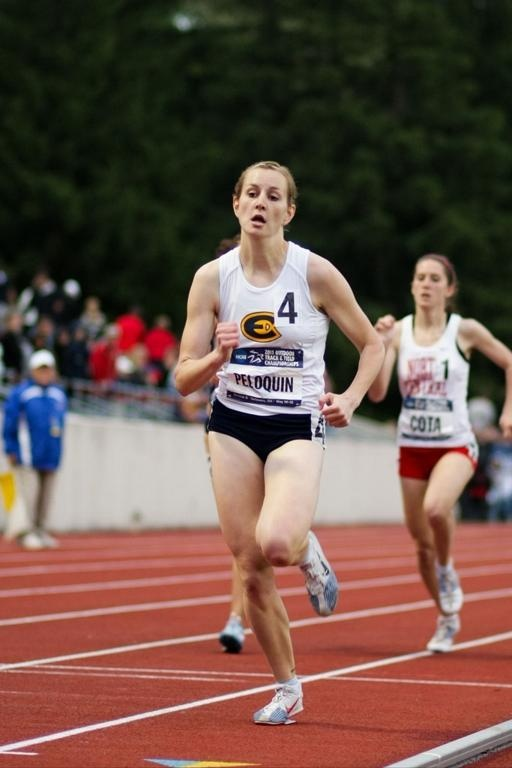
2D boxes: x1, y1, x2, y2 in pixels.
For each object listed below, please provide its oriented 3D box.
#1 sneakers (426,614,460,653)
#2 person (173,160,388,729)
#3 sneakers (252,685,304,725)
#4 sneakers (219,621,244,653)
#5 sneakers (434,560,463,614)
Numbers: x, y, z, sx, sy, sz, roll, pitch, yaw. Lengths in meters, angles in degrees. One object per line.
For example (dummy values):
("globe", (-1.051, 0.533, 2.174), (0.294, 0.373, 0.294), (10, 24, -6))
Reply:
("sneakers", (1.063, 1.457, 5.371), (0.142, 0.224, 0.256), (4, 17, 23))
("person", (0.077, 0.252, 3.199), (0.684, 1.939, 0.837), (0, 17, 9))
("sneakers", (0.100, 1.113, 3.307), (0.095, 0.106, 0.243), (3, 3, 38))
("sneakers", (-0.140, 1.424, 5.264), (0.092, 0.224, 0.101), (0, 46, 3))
("sneakers", (1.128, 1.193, 5.542), (0.119, 0.318, 0.150), (-5, -30, 12))
